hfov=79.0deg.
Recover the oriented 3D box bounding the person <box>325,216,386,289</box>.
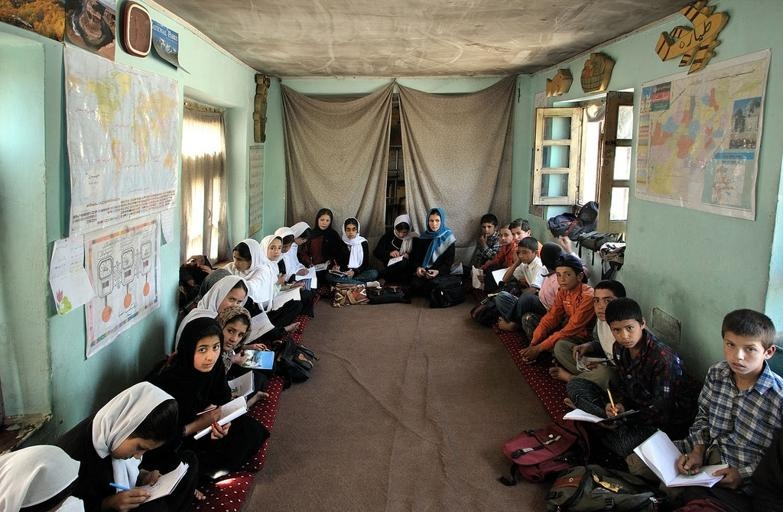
[{"bbox_3d":[-0.513,-0.054,6.609,1.017,1.128,0.808,-1,7,-4],"label":"person"}]

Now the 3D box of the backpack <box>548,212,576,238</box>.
[{"bbox_3d":[2.189,-0.385,6.055,0.330,0.319,0.132,0,1,-16],"label":"backpack"}]

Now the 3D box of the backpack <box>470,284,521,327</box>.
[{"bbox_3d":[1.262,0.559,5.420,0.544,0.216,0.432,-37,10,-10],"label":"backpack"}]

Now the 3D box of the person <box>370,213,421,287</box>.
[{"bbox_3d":[0.078,-0.088,7.009,0.868,1.338,0.905,1,2,-2],"label":"person"}]

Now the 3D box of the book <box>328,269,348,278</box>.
[{"bbox_3d":[-0.698,0.227,6.356,0.249,0.083,0.172,-1,11,-13],"label":"book"}]

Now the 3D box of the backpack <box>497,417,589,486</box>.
[{"bbox_3d":[1.078,1.369,3.339,0.486,0.215,0.378,-11,13,-13],"label":"backpack"}]

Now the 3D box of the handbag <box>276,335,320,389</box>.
[{"bbox_3d":[-0.884,0.964,4.368,0.390,0.181,0.372,13,38,-44],"label":"handbag"}]

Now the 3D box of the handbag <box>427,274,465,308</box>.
[{"bbox_3d":[0.729,0.448,6.222,0.480,0.335,0.410,0,11,-6],"label":"handbag"}]

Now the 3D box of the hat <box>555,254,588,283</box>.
[{"bbox_3d":[1.661,0.114,4.516,0.229,0.275,0.314,-12,-7,39],"label":"hat"}]
